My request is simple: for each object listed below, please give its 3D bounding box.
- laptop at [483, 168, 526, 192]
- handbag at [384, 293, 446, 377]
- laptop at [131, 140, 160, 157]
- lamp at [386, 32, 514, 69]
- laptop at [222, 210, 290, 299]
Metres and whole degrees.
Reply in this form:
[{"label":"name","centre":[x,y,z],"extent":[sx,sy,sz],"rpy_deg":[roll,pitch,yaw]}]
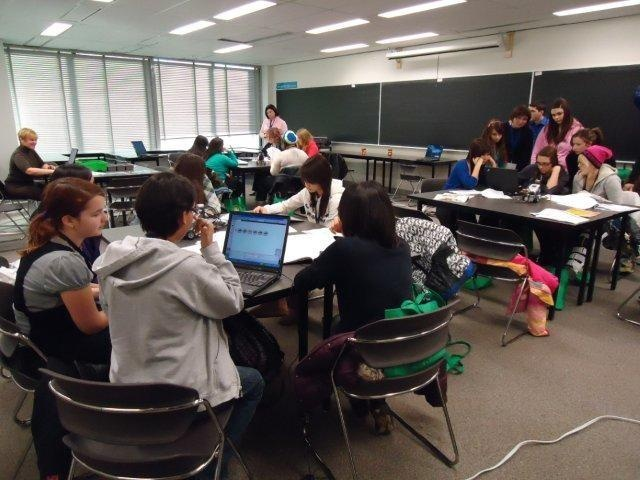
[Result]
[{"label":"laptop","centre":[1.786,-0.592,4.470],"extent":[0.238,0.234,0.341],"rpy_deg":[-5,20,-37]},{"label":"handbag","centre":[0.486,0.462,2.334],"extent":[0.306,0.177,0.387],"rpy_deg":[7,18,44]},{"label":"laptop","centre":[-3.308,-1.718,8.673],"extent":[0.514,0.337,0.547],"rpy_deg":[6,18,-1]},{"label":"lamp","centre":[1.984,-2.979,7.244],"extent":[0.314,0.294,2.020],"rpy_deg":[-15,21,-41]},{"label":"laptop","centre":[-0.365,0.037,2.630],"extent":[0.455,0.326,0.405],"rpy_deg":[10,21,27]}]
